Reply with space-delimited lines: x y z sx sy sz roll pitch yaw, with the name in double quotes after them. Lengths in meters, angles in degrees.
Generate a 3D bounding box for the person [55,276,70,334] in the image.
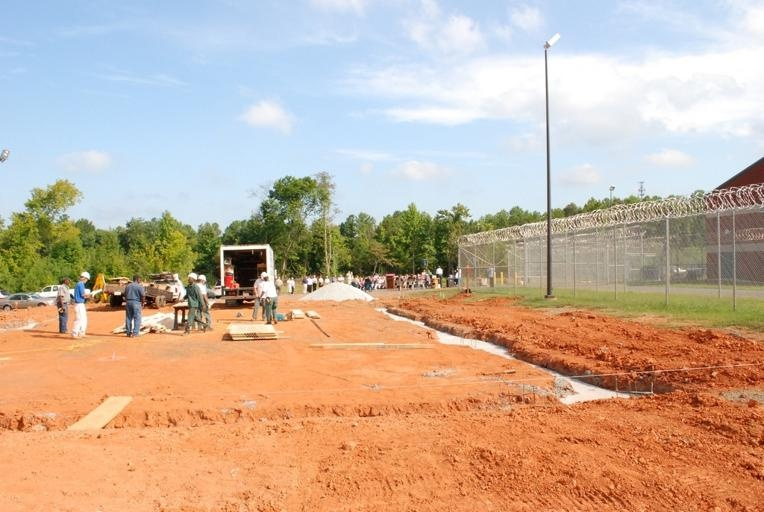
-11.365 1.827 21.925 0.471 2.162 1.198 -6 10 -28 "person"

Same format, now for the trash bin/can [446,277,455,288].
6.792 2.912 60.833 0.903 0.873 1.660 0 2 6 "trash bin/can"

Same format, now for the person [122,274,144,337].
-8.720 1.793 21.555 0.672 2.119 1.040 -5 9 -24 "person"

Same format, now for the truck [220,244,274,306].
-7.090 1.420 37.485 3.196 3.621 6.328 -1 -4 12 "truck"

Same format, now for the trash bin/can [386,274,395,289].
0.753 2.464 56.665 0.678 1.354 1.413 -2 8 -2 "trash bin/can"

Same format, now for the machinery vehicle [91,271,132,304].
-17.134 1.977 38.704 1.776 1.717 2.990 0 -5 -26 "machinery vehicle"
